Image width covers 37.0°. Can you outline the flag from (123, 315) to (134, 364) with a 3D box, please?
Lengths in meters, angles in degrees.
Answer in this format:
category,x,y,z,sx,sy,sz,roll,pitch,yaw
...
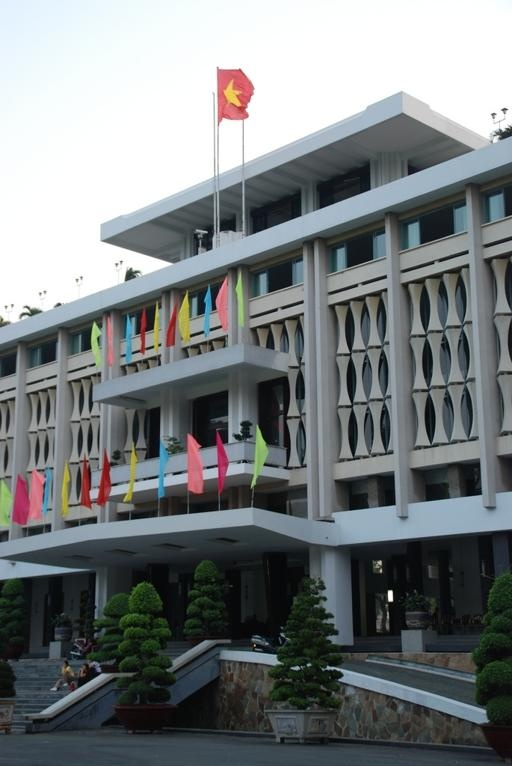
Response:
category,x,y,z,sx,sy,sz,roll,pitch,yaw
flag,-5.694,-2.157,34.328,0.446,2.781,2.980,0,-13,-10

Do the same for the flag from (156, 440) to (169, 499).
category,x,y,z,sx,sy,sz,roll,pitch,yaw
flag,-3.228,3.013,26.584,0.356,2.051,0.077,-7,-17,25

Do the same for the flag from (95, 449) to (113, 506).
category,x,y,z,sx,sy,sz,roll,pitch,yaw
flag,-6.139,3.875,31.070,0.506,2.338,3.568,0,-13,-11

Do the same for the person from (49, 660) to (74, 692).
category,x,y,z,sx,sy,sz,roll,pitch,yaw
person,-6.064,9.188,23.917,0.744,0.787,2.656,1,-14,-15

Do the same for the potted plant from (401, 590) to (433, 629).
category,x,y,z,sx,sy,sz,roll,pitch,yaw
potted plant,4.737,6.854,23.106,0.950,1.464,1.017,6,-12,-15

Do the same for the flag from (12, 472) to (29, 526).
category,x,y,z,sx,sy,sz,roll,pitch,yaw
flag,-9.342,4.615,30.401,0.543,1.910,2.898,2,-13,-17

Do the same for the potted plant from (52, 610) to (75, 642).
category,x,y,z,sx,sy,sz,roll,pitch,yaw
potted plant,-8.443,10.667,33.357,0.777,1.084,1.414,1,-13,-17

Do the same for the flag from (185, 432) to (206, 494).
category,x,y,z,sx,sy,sz,roll,pitch,yaw
flag,-2.001,2.615,25.011,0.579,1.884,0.423,5,-13,-31

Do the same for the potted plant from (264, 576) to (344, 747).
category,x,y,z,sx,sy,sz,roll,pitch,yaw
potted plant,1.081,5.915,16.344,1.486,3.399,3.380,-3,-12,5

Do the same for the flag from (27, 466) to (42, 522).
category,x,y,z,sx,sy,sz,roll,pitch,yaw
flag,-8.719,4.420,30.292,0.517,1.802,1.642,2,-13,-17

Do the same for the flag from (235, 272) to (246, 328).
category,x,y,z,sx,sy,sz,roll,pitch,yaw
flag,-0.611,-3.328,29.980,0.355,2.300,1.027,-2,-12,-1
